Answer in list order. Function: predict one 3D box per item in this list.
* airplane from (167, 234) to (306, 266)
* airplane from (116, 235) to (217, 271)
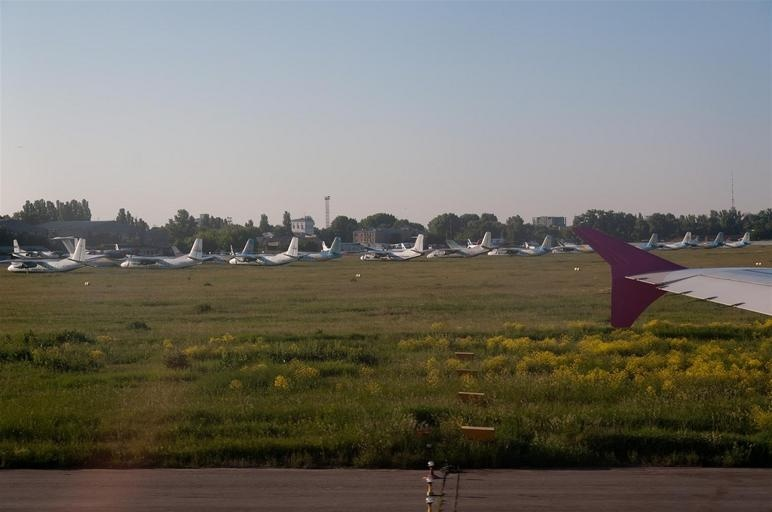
[{"bbox_3d":[-10.127,-0.512,103.807,12.631,3.307,4.196,1,-5,-7],"label":"airplane"},{"bbox_3d":[-14.961,-0.281,90.293,6.443,2.365,2.604,2,-3,-36],"label":"airplane"}]
